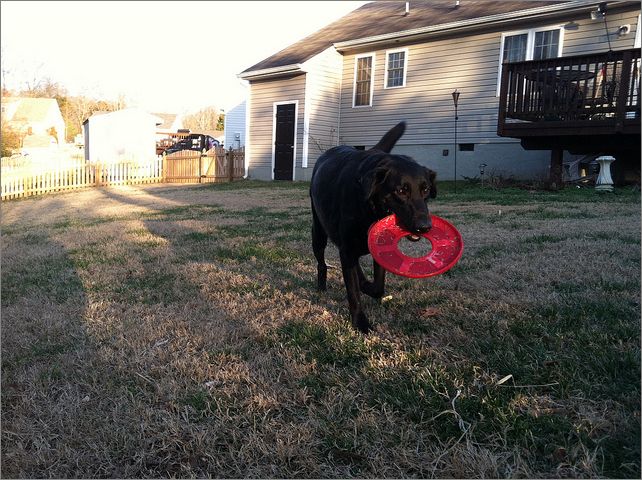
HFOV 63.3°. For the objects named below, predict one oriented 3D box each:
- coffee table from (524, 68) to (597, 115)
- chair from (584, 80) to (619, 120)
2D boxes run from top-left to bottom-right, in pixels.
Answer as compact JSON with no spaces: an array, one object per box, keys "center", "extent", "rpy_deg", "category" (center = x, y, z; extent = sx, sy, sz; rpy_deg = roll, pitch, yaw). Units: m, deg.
[{"center":[4.910,-3.060,10.688],"extent":[1.276,0.857,1.336],"rpy_deg":[-6,21,-14],"category":"coffee table"},{"center":[5.626,-2.848,10.530],"extent":[0.663,0.851,1.856],"rpy_deg":[2,12,26],"category":"chair"}]
